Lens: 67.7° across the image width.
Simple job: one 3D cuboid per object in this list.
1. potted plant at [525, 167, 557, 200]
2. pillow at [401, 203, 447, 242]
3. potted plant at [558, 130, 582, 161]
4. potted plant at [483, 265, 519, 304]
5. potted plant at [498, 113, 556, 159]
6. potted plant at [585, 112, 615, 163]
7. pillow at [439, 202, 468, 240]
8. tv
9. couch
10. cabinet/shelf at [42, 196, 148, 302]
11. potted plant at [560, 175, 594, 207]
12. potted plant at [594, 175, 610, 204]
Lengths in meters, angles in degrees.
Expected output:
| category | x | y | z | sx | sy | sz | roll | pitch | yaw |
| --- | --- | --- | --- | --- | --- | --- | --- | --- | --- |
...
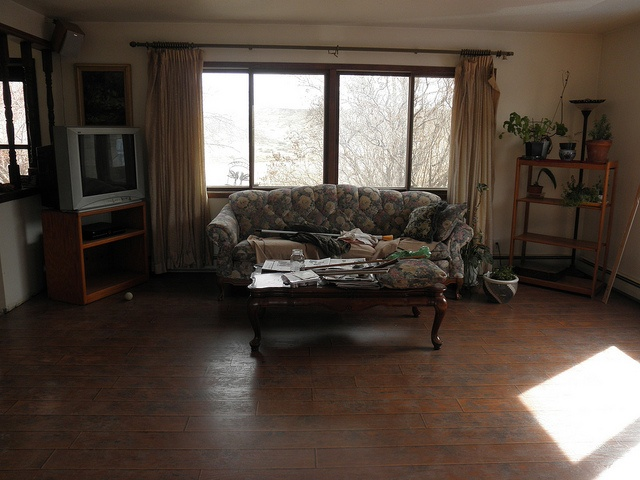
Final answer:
| category | x | y | z | sx | sy | sz | roll | pitch | yaw |
| --- | --- | --- | --- | --- | --- | --- | --- | --- | --- |
| potted plant | 2.633 | -0.693 | 5.651 | 0.313 | 0.260 | 0.178 | 5 | 17 | 21 |
| pillow | 1.107 | -0.217 | 5.020 | 0.131 | 0.410 | 0.425 | 26 | -7 | -34 |
| potted plant | 2.956 | -1.120 | 5.660 | 0.197 | 0.303 | 0.775 | 8 | 16 | 26 |
| potted plant | 1.907 | 0.457 | 5.050 | 0.366 | 0.371 | 0.353 | 0 | 12 | 12 |
| potted plant | 2.501 | -1.207 | 5.703 | 0.682 | 0.442 | 0.666 | 4 | 14 | 18 |
| potted plant | 3.067 | -1.122 | 5.245 | 0.287 | 0.517 | 0.282 | -9 | 14 | -39 |
| pillow | 1.341 | -0.212 | 4.998 | 0.116 | 0.350 | 0.372 | 32 | 2 | -16 |
| tv | -2.526 | -0.788 | 5.200 | 0.588 | 0.814 | 1.046 | 5 | 14 | 18 |
| couch | 0.215 | -0.013 | 5.368 | 2.773 | 1.074 | 0.931 | 0 | 19 | -4 |
| cabinet/shelf | -2.438 | 0.112 | 5.272 | 0.554 | 0.893 | 0.961 | 5 | 11 | 22 |
| potted plant | 2.836 | -0.512 | 5.319 | 0.301 | 0.236 | 0.374 | -3 | 15 | -15 |
| potted plant | 3.169 | -0.565 | 5.364 | 0.175 | 0.269 | 0.781 | 10 | 17 | 30 |
